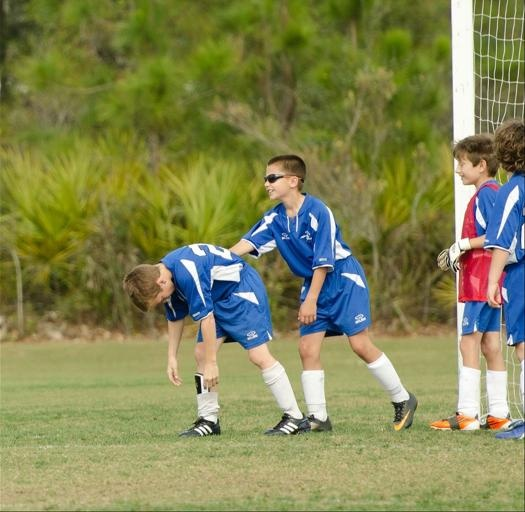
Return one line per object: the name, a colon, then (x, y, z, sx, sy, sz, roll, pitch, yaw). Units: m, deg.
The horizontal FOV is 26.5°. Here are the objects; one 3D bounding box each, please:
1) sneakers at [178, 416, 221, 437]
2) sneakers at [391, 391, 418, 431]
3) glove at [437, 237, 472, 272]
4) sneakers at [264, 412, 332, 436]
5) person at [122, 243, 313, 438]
sneakers: (-0.382, 1.024, 6.763, 0.258, 0.138, 0.104, -1, -2, -5)
sneakers: (0.851, 0.968, 6.875, 0.135, 0.284, 0.090, 35, -27, -28)
glove: (1.166, -0.012, 6.811, 0.195, 0.084, 0.168, -54, -9, 16)
sneakers: (0.214, 1.019, 6.768, 0.398, 0.161, 0.156, 2, -9, -19)
person: (-0.293, 0.511, 6.668, 1.109, 0.888, 0.435, -3, -2, -29)
